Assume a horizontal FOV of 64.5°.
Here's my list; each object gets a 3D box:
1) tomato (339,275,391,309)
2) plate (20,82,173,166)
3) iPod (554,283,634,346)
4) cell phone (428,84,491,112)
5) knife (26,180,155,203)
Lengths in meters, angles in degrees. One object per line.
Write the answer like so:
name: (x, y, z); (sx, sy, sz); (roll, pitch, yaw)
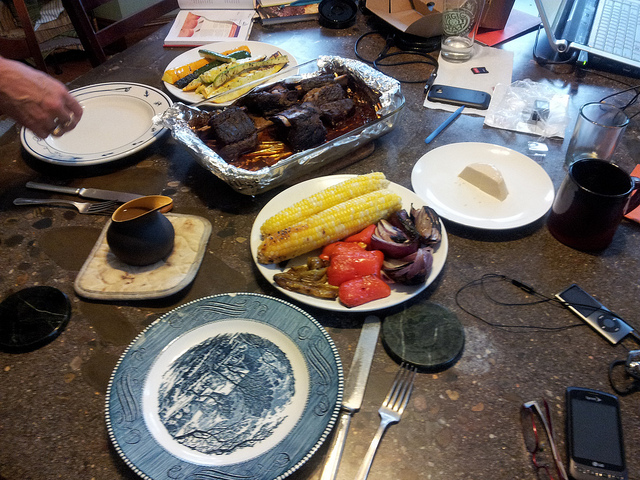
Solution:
tomato: (0.092, 0.113, 1.111); (0.109, 0.038, 0.053); (-9, 53, -19)
plate: (-0.650, -0.351, 1.528); (0.384, 0.057, 0.405); (17, 56, 14)
iPod: (0.617, 0.166, 1.145); (0.084, 0.016, 0.157); (-34, 56, -22)
cell phone: (0.453, -0.466, 1.694); (0.215, 0.025, 0.083); (12, 49, 10)
knife: (-0.634, -0.131, 1.384); (0.364, 0.024, 0.034); (7, 44, 4)
